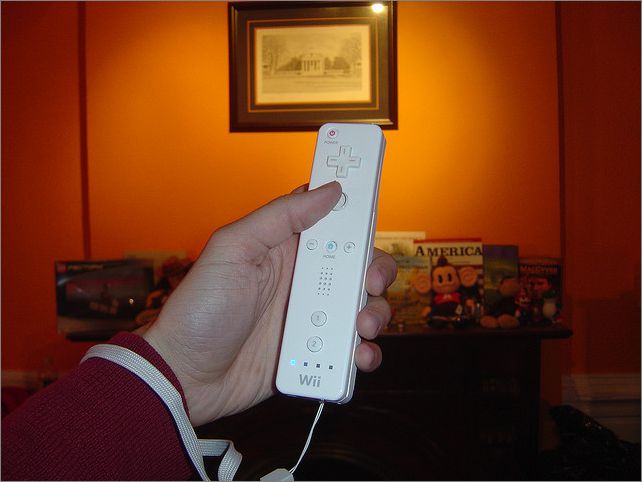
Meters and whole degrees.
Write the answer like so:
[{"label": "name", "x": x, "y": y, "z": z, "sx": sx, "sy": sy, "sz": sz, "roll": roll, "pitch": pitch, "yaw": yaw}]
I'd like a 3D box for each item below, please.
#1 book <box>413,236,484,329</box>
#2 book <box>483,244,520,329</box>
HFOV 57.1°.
[{"label": "book", "x": 0.479, "y": 0.169, "z": 2.197, "sx": 0.291, "sy": 0.421, "sz": 0.043, "roll": -1, "pitch": -14, "yaw": 1}, {"label": "book", "x": 0.676, "y": 0.152, "z": 2.206, "sx": 0.144, "sy": 0.262, "sz": 0.107, "roll": 4, "pitch": 7, "yaw": 13}]
